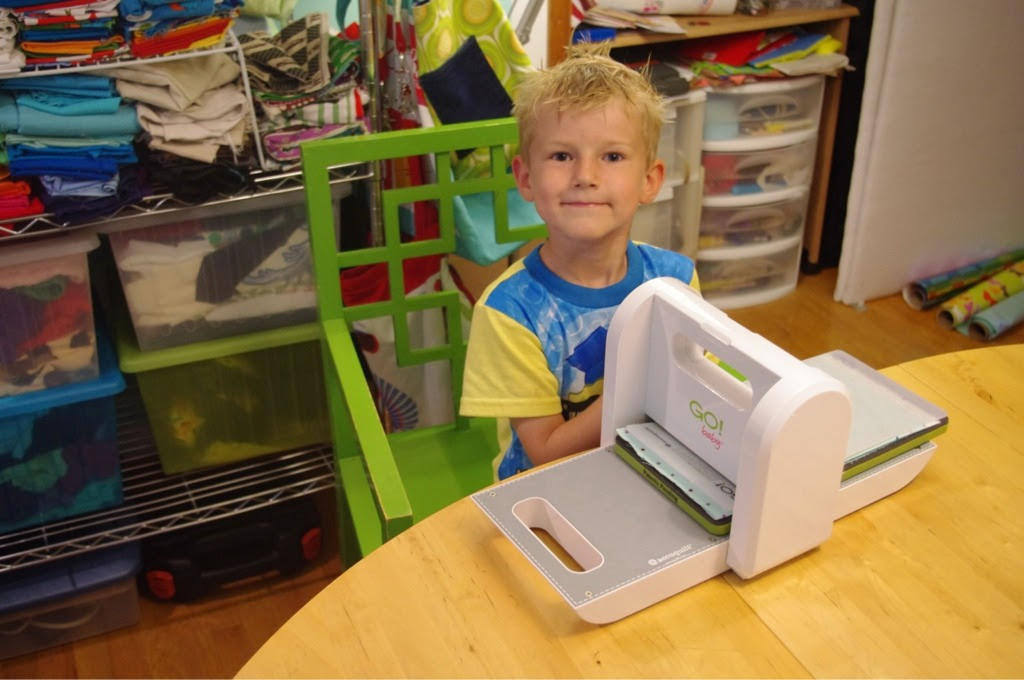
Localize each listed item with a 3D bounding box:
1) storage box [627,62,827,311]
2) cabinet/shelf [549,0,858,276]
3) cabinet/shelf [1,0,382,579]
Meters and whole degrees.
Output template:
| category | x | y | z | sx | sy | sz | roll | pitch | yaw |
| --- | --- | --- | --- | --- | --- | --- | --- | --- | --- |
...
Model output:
| category | x | y | z | sx | sy | sz | roll | pitch | yaw |
| --- | --- | --- | --- | --- | --- | --- | --- | --- | --- |
| storage box | 0.775 | -0.654 | 2.813 | 0.665 | 0.781 | 0.836 | 19 | 43 | 32 |
| cabinet/shelf | 0.672 | -0.901 | 2.835 | 1.084 | 0.954 | 0.780 | -4 | 50 | 1 |
| cabinet/shelf | -0.739 | -0.115 | 2.260 | 1.156 | 1.696 | 0.456 | -13 | 19 | -19 |
